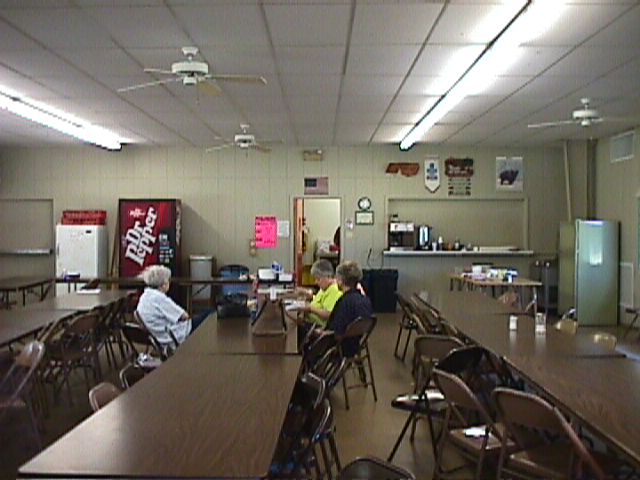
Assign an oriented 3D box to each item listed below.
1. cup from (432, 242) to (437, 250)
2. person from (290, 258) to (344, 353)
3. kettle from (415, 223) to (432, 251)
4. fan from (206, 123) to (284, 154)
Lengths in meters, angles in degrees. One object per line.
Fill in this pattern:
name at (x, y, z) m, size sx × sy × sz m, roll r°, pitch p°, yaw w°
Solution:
cup at (2.432, 0.137, 10.113) m, size 0.137 × 0.170 × 0.077 m, roll 1°, pitch 1°, yaw 44°
person at (-0.028, 0.688, 5.802) m, size 0.716 × 1.486 × 0.708 m, roll 2°, pitch 0°, yaw 2°
kettle at (2.338, -0.050, 10.312) m, size 0.281 × 0.573 × 0.519 m, roll 1°, pitch 1°, yaw 18°
fan at (-1.311, -1.732, 8.334) m, size 0.780 × 0.334 × 0.926 m, roll -1°, pitch -4°, yaw 1°
